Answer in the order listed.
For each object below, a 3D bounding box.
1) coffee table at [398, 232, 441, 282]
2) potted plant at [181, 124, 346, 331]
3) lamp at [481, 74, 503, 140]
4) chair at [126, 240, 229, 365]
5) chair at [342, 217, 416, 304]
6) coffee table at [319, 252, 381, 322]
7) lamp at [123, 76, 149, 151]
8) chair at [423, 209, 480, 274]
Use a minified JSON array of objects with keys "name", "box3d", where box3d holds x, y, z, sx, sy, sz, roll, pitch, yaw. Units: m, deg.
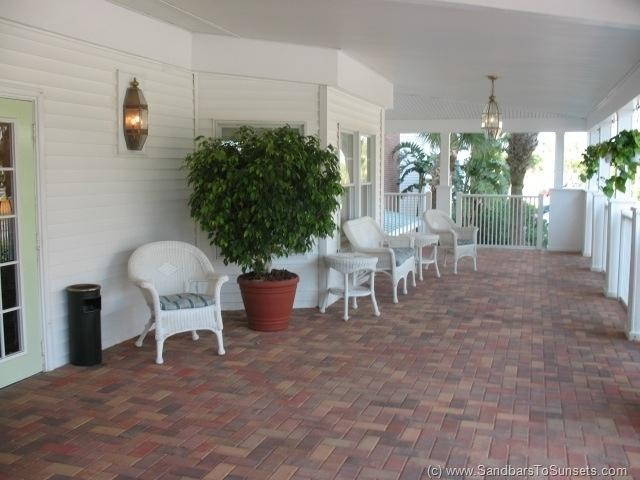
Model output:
[{"name":"coffee table","box3d":[1.839,0.267,8.026,0.687,0.785,0.705,-2,6,-8]},{"name":"potted plant","box3d":[-0.618,-0.115,5.171,1.847,2.367,1.407,0,-1,3]},{"name":"lamp","box3d":[3.109,-2.414,7.711,0.382,1.184,0.387,3,3,37]},{"name":"chair","box3d":[-1.513,0.604,4.568,0.988,1.137,0.989,0,1,27]},{"name":"chair","box3d":[0.971,0.249,6.738,0.975,1.194,1.015,6,14,42]},{"name":"coffee table","box3d":[0.423,0.616,5.935,0.722,0.856,0.770,4,5,38]},{"name":"lamp","box3d":[-2.058,-1.396,4.756,0.272,0.760,0.270,-3,12,-34]},{"name":"chair","box3d":[2.661,-0.010,8.716,0.992,1.219,1.019,1,5,25]}]
